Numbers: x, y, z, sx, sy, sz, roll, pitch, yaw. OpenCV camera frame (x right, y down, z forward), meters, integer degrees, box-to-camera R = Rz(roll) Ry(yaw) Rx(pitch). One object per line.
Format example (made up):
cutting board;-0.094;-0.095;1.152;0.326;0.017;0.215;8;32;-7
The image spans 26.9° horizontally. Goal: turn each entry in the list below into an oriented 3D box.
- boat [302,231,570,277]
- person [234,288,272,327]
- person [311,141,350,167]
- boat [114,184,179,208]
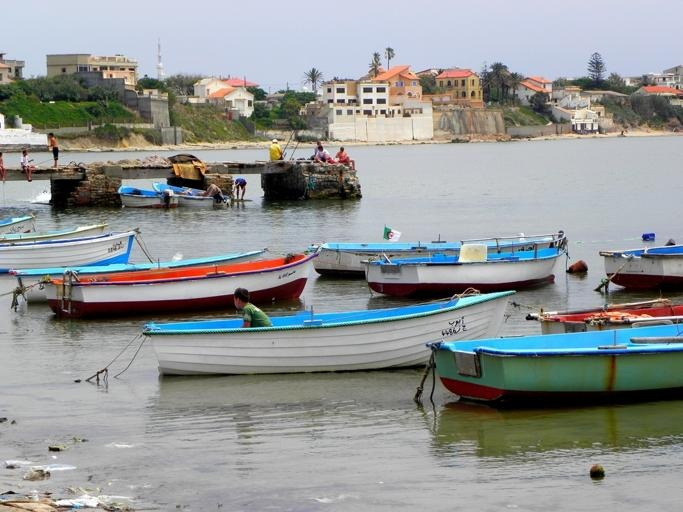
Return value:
boat;2.197;-0.025;34.873;5.657;0.867;1.133;-3;5;1
person;-1.738;0.974;27.105;0.664;0.755;0.487;-3;6;-7
person;-0.442;-3.906;54.534;1.529;0.569;0.972;2;10;-7
boat;-7.179;-2.082;50.715;1.658;0.497;0.951;9;8;27
